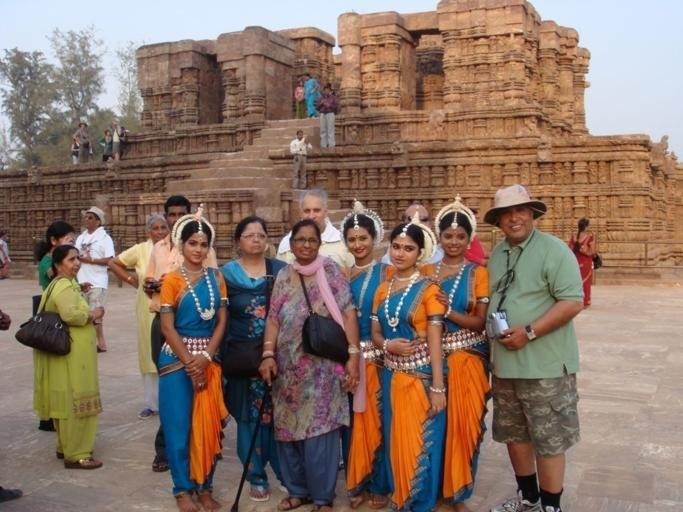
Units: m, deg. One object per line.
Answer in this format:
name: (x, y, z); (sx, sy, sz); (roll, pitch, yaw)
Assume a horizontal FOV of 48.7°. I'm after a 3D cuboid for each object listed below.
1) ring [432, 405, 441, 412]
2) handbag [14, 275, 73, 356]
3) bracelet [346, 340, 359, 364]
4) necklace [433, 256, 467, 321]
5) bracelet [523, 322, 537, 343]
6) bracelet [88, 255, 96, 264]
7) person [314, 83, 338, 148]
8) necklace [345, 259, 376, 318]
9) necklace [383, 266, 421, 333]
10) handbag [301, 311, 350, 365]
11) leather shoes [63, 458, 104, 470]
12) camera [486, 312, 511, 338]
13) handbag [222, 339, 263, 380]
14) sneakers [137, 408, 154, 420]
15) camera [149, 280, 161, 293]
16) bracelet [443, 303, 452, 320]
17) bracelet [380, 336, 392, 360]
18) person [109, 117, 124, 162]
ring: (0.677, 1.091, 5.407); (0.047, 0.025, 0.029); (-11, 42, -13)
handbag: (-2.410, 0.630, 6.143); (0.413, 0.352, 0.169); (0, 10, 6)
bracelet: (0.085, 0.713, 5.593); (0.083, 0.143, 0.116); (2, -33, -9)
necklace: (0.843, 0.233, 5.619); (0.237, 0.401, 0.096); (1, -14, 12)
bracelet: (1.315, 0.536, 5.280); (0.074, 0.113, 0.116); (-24, 12, 10)
bracelet: (-2.724, 0.042, 8.244); (0.072, 0.073, 0.020); (3, -20, -43)
person: (-0.336, -3.269, 17.600); (0.491, 1.434, 0.846); (-1, 10, -3)
necklace: (0.149, 0.260, 5.788); (0.192, 0.370, 0.251); (23, -42, -31)
necklace: (0.429, 0.310, 5.571); (0.066, 0.401, 0.251); (27, -20, -32)
handbag: (-0.117, 0.619, 5.514); (0.340, 0.408, 0.195); (-1, 10, -1)
leather shoes: (-2.104, 1.692, 6.139); (0.265, 0.117, 0.112); (0, 1, -3)
camera: (1.102, 0.488, 5.315); (0.083, 0.151, 0.104); (26, -41, -22)
handbag: (-0.772, 0.762, 5.726); (0.299, 0.308, 0.119); (-3, -13, 21)
sneakers: (-1.850, 1.491, 7.120); (0.062, 0.069, 0.171); (0, -11, 12)
camera: (-1.530, 0.250, 6.201); (0.075, 0.093, 0.097); (2, -19, -11)
bracelet: (0.776, 0.405, 5.548); (0.034, 0.097, 0.071); (13, 21, 7)
bracelet: (0.316, 0.697, 5.582); (0.038, 0.118, 0.092); (4, 21, -8)
person: (-6.600, -3.422, 22.217); (0.272, 1.150, 0.987); (-4, 11, -16)
